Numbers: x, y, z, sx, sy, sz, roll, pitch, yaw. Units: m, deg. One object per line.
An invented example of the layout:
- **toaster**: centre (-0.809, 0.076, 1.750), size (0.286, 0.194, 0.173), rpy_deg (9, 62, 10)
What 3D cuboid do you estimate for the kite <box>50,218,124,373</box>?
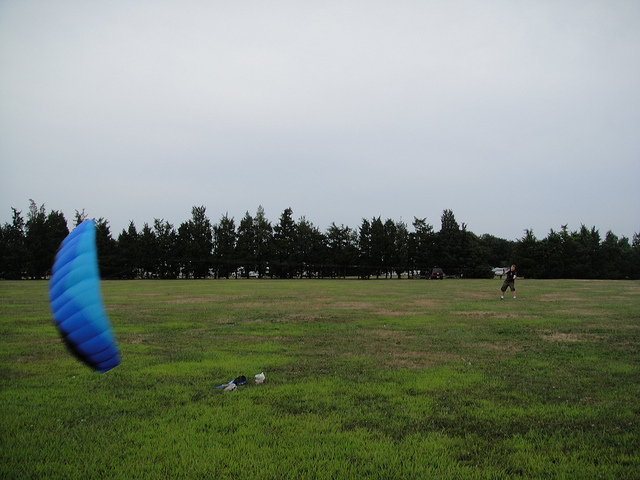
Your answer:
- **kite**: centre (-4.469, 1.116, 10.133), size (1.125, 2.727, 1.001), rpy_deg (8, 12, 44)
